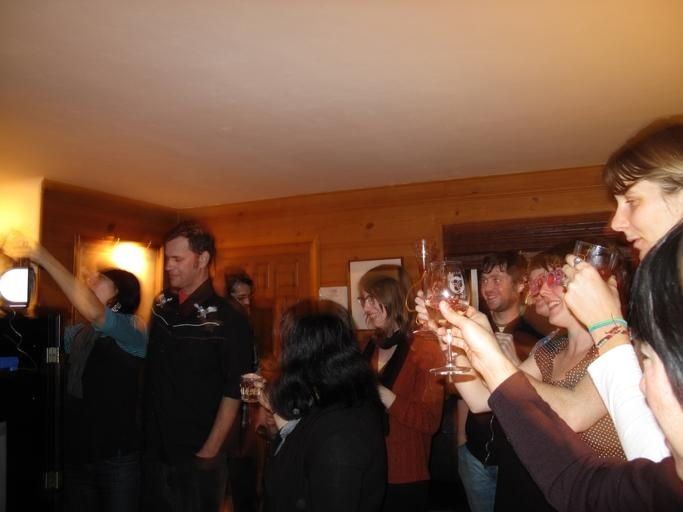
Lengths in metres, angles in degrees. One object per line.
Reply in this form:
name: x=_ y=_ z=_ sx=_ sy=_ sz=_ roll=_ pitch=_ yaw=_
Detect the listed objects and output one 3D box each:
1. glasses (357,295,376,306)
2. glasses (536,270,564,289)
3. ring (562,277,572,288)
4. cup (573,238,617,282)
glasses: x=0.150 y=0.230 z=2.747 sx=0.067 sy=0.028 sz=0.070 roll=-14 pitch=-34 yaw=44
glasses: x=0.764 y=0.086 z=1.860 sx=0.076 sy=0.021 sz=0.078 roll=11 pitch=-12 yaw=-9
ring: x=0.630 y=0.071 z=1.422 sx=0.008 sy=0.033 sz=0.032 roll=6 pitch=-7 yaw=-11
cup: x=0.777 y=0.006 z=1.597 sx=0.140 sy=0.131 sz=0.115 roll=2 pitch=-3 yaw=36
